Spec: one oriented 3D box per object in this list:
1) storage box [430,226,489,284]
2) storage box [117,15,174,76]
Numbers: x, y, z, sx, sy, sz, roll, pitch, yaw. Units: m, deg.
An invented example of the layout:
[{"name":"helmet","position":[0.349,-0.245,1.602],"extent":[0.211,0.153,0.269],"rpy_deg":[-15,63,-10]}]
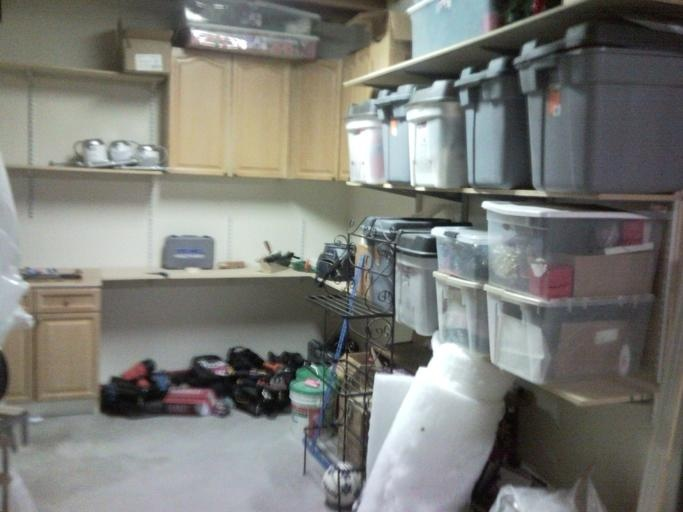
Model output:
[{"name":"storage box","position":[0.541,-0.008,2.620],"extent":[0.218,0.197,0.324],"rpy_deg":[-4,11,-19]},{"name":"storage box","position":[-1.422,-1.487,4.130],"extent":[0.429,0.418,0.356],"rpy_deg":[-4,14,-24]}]
